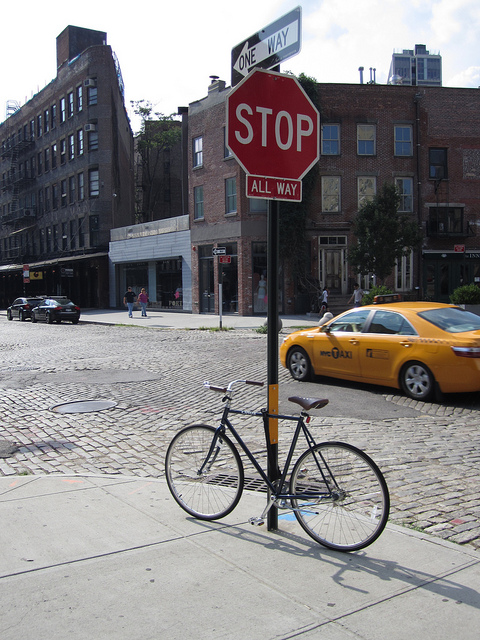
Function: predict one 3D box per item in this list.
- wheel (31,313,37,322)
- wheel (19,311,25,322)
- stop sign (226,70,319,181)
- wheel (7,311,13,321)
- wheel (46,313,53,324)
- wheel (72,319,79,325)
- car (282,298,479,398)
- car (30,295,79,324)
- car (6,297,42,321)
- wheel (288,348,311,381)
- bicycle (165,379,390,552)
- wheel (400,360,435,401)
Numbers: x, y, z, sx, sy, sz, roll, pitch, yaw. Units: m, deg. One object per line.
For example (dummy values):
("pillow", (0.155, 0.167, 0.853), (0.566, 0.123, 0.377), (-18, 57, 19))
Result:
("wheel", (-9.686, -0.142, 33.724), (0.107, 0.408, 0.356), (4, -5, -15))
("wheel", (-10.771, -0.225, 35.484), (0.131, 0.491, 0.420), (-1, -1, -27))
("stop sign", (0.193, -1.141, 4.194), (0.676, 0.638, 0.065), (2, -2, -36))
("wheel", (-12.005, -0.248, 37.378), (0.167, 0.463, 0.698), (1, -1, -21))
("wheel", (-8.533, -0.085, 32.124), (0.225, 0.478, 0.748), (1, -1, -25))
("wheel", (-7.373, 0.062, 32.018), (0.215, 0.070, 0.243), (-10, -14, 26))
("car", (2.181, 0.375, 9.873), (1.147, 1.062, 2.793), (0, 3, -36))
("car", (-8.288, -0.462, 32.369), (1.087, 1.004, 2.467), (-1, 7, -32))
("car", (-10.864, -0.602, 36.144), (0.992, 1.039, 2.457), (-2, 7, -31))
("wheel", (0.945, 0.676, 11.143), (0.136, 0.515, 0.440), (2, -1, -27))
("bicycle", (0.171, 0.849, 4.294), (1.356, 0.972, 0.366), (5, 14, 17))
("wheel", (2.280, 0.742, 9.139), (0.447, 0.541, 0.169), (-5, 11, 36))
